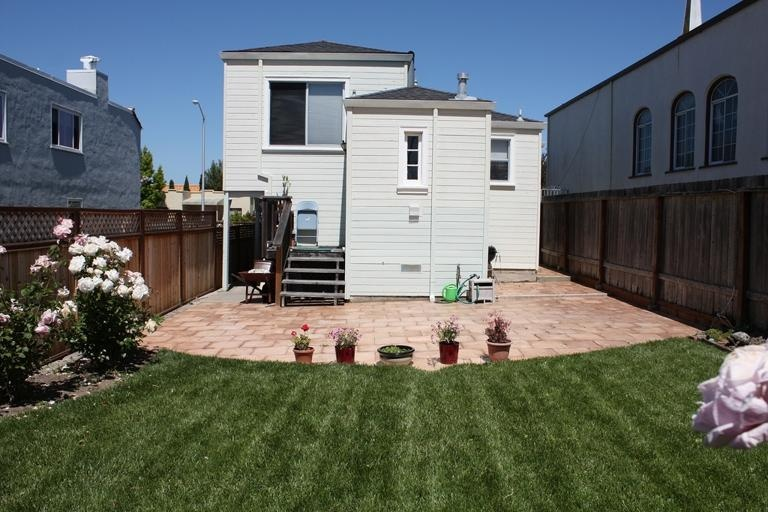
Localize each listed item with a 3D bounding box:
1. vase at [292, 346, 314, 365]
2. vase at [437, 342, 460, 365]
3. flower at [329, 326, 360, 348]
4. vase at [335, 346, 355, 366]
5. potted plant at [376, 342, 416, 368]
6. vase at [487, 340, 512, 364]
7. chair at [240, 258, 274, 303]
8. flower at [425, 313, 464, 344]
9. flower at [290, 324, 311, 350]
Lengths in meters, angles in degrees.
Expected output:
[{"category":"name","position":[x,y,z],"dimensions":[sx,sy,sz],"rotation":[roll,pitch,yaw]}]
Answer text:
[{"category":"vase","position":[-1.431,1.807,10.325],"dimensions":[0.339,0.282,0.297],"rotation":[-2,7,-12]},{"category":"vase","position":[1.179,1.742,10.380],"dimensions":[0.331,0.402,0.352],"rotation":[0,7,5]},{"category":"flower","position":[-0.682,1.469,10.503],"dimensions":[0.475,0.361,0.484],"rotation":[0,-1,-4]},{"category":"vase","position":[-0.663,1.774,10.278],"dimensions":[0.350,0.334,0.346],"rotation":[-2,7,-13]},{"category":"potted plant","position":[0.213,1.803,10.317],"dimensions":[0.630,0.293,0.461],"rotation":[0,7,0]},{"category":"vase","position":[2.087,1.726,10.374],"dimensions":[0.347,0.268,0.367],"rotation":[0,-2,-1]},{"category":"chair","position":[-3.454,0.707,15.955],"dimensions":[0.871,1.012,1.875],"rotation":[-1,7,-11]},{"category":"flower","position":[1.101,1.456,10.690],"dimensions":[0.522,0.529,0.714],"rotation":[0,2,12]},{"category":"flower","position":[-1.600,1.587,11.086],"dimensions":[0.499,0.588,0.425],"rotation":[1,-1,-10]}]
